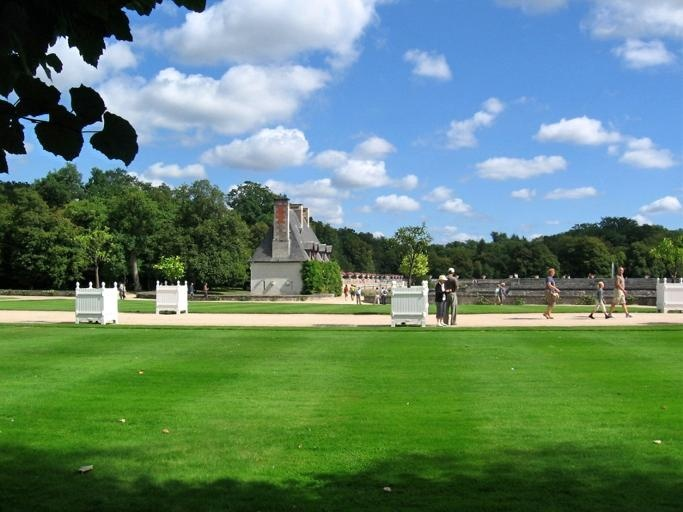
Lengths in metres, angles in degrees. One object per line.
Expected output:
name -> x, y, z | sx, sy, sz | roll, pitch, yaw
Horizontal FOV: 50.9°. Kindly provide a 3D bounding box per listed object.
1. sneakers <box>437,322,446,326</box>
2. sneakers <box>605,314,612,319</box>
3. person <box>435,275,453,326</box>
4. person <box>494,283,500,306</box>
sneakers -> 3.357, 2.303, 24.491 | 0.113, 0.131, 0.330 | -1, -6, -21
sneakers -> 9.789, 2.197, 26.413 | 0.163, 0.055, 0.205 | -2, 9, 10
person -> 3.423, 1.472, 24.413 | 0.475, 1.714, 1.571 | 0, -4, 8
person -> 10.820, 2.676, 50.189 | 0.330, 1.101, 1.078 | -1, 0, 12
